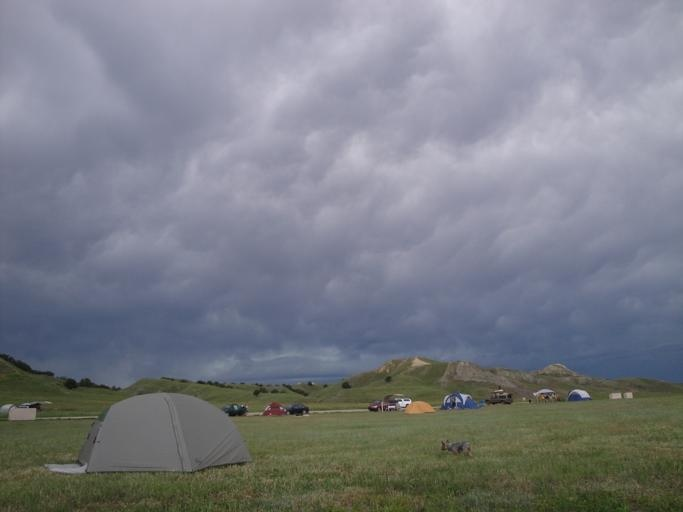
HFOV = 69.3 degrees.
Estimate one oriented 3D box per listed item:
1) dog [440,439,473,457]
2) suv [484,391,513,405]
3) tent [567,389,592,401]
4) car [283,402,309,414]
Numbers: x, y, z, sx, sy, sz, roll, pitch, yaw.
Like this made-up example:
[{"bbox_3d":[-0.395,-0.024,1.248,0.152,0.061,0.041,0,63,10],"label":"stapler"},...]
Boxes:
[{"bbox_3d":[6.102,10.209,26.384,0.641,0.817,1.561,17,-29,-40],"label":"dog"},{"bbox_3d":[33.748,30.722,106.912,3.430,2.672,4.977,10,-19,-36],"label":"suv"},{"bbox_3d":[47.444,27.750,99.103,2.391,2.212,6.266,-6,-22,6],"label":"tent"},{"bbox_3d":[-7.220,25.360,82.127,3.072,1.347,1.947,12,-23,-15],"label":"car"}]
